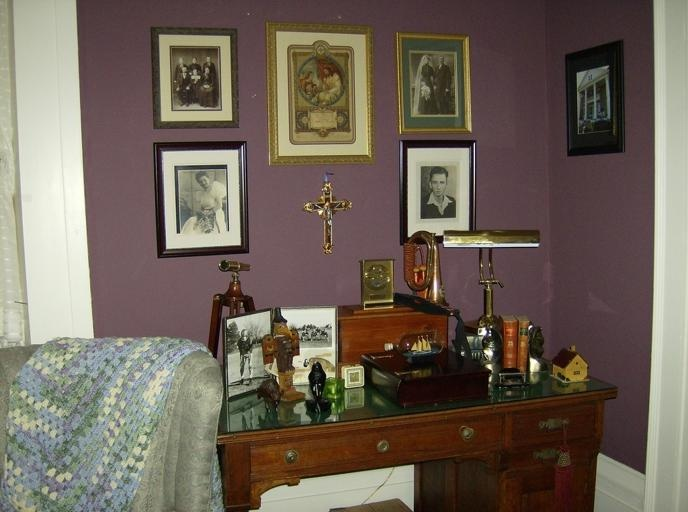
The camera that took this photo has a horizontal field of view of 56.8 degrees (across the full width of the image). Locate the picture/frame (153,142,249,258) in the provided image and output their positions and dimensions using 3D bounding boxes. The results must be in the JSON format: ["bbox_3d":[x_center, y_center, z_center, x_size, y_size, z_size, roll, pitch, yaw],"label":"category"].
[{"bbox_3d":[-0.751,-0.307,3.389,0.465,0.584,0.046,-3,5,-16],"label":"picture/frame"}]

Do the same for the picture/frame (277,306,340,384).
[{"bbox_3d":[-0.168,0.442,3.169,0.280,0.378,0.059,-2,5,-10],"label":"picture/frame"}]

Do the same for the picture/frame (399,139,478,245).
[{"bbox_3d":[0.541,-0.375,3.675,0.466,0.586,0.028,-3,5,-14],"label":"picture/frame"}]

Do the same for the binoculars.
[{"bbox_3d":[-0.567,0.239,3.277,0.193,0.606,0.225,0,9,-28],"label":"binoculars"}]

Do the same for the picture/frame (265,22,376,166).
[{"bbox_3d":[-0.125,-0.893,3.495,0.575,0.748,0.052,-2,5,-9],"label":"picture/frame"}]

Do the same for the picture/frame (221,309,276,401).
[{"bbox_3d":[-0.462,0.456,3.041,0.199,0.401,0.092,-3,10,-37],"label":"picture/frame"}]
